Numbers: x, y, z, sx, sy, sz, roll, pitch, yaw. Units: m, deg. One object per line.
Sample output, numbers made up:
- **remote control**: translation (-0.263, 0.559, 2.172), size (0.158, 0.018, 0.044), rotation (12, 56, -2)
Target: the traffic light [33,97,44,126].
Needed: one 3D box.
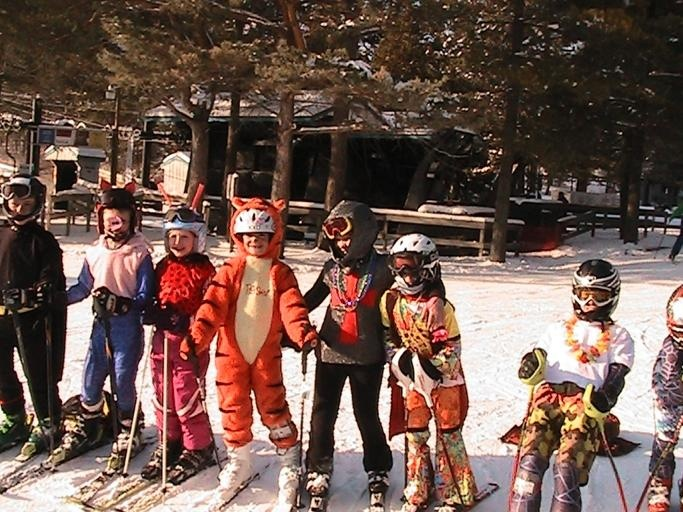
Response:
- **traffic light**: translation (-8.590, -4.093, 15.388), size (0.211, 0.846, 0.700), rotation (-1, 6, -32)
